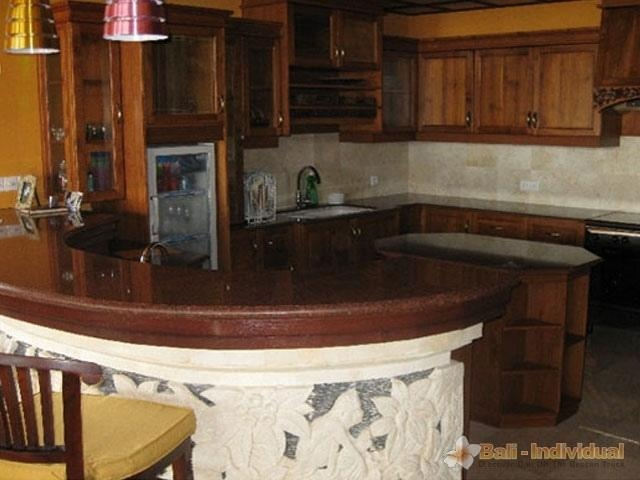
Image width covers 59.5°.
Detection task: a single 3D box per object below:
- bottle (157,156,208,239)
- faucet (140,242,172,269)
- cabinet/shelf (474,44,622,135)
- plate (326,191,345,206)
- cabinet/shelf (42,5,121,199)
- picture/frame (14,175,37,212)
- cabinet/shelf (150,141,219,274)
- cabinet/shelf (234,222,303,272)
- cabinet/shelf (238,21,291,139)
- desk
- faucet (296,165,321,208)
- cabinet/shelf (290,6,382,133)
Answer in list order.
[{"bbox_3d":[-1.087,-0.334,4.439,0.080,0.679,0.474,7,14,39],"label":"bottle"},{"bbox_3d":[-0.963,0.093,3.264,0.128,0.118,0.083,11,19,30],"label":"faucet"},{"bbox_3d":[2.026,-1.526,5.808,1.611,1.034,0.517,-7,15,-17],"label":"cabinet/shelf"},{"bbox_3d":[0.163,-0.457,6.204,0.158,0.086,0.155,4,9,34],"label":"plate"},{"bbox_3d":[-1.836,-0.985,4.146,0.647,1.385,0.355,0,12,15],"label":"cabinet/shelf"},{"bbox_3d":[-2.203,-0.353,4.177,0.151,0.242,0.444,-9,12,-28],"label":"picture/frame"},{"bbox_3d":[-1.231,-0.219,4.591,0.390,1.073,0.651,11,15,39],"label":"cabinet/shelf"},{"bbox_3d":[-0.591,0.072,5.254,0.733,0.392,0.371,-5,5,-8],"label":"cabinet/shelf"},{"bbox_3d":[-0.515,-1.399,5.065,0.494,1.098,0.152,-13,16,-43],"label":"cabinet/shelf"},{"bbox_3d":[0.989,0.791,4.051,1.607,1.023,0.851,2,-24,-7],"label":"desk"},{"bbox_3d":[-0.122,-0.575,6.012,0.189,0.444,0.396,7,14,39],"label":"faucet"},{"bbox_3d":[0.135,-1.721,5.520,0.510,1.088,1.403,6,10,40],"label":"cabinet/shelf"}]
